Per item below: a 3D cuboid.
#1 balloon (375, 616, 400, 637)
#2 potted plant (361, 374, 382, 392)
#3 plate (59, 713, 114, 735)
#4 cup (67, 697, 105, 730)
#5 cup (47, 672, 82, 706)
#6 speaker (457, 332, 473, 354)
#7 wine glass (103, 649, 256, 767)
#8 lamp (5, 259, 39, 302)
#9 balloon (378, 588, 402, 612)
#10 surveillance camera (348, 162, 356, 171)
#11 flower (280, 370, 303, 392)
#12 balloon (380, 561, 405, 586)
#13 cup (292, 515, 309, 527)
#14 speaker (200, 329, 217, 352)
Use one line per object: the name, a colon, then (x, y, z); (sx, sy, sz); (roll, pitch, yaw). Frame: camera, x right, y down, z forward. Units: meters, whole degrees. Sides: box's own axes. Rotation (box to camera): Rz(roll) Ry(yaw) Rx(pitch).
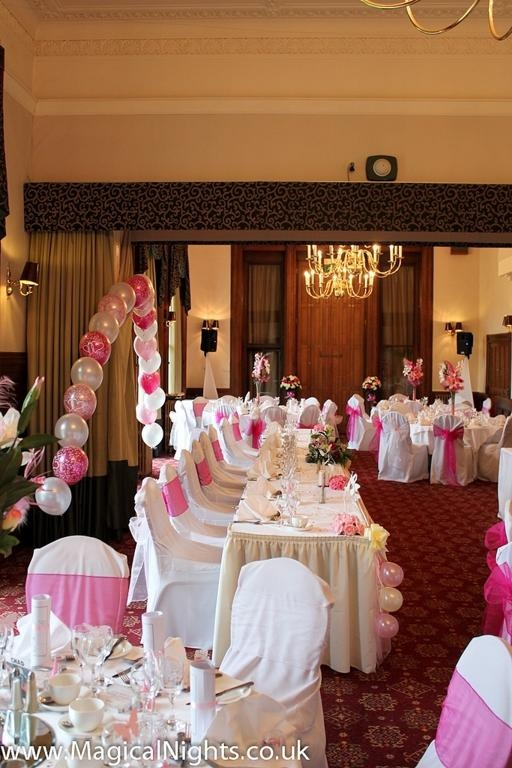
balloon: (0.733, 1.354, 3.029); (0.103, 0.136, 0.109); (-6, -17, 32)
potted plant: (2.549, 0.001, 11.996); (0.377, 0.489, 0.451); (0, -4, 6)
plate: (-0.393, 0.782, 1.238); (0.074, 0.015, 0.080); (-1, -9, 18)
cup: (-0.396, 0.755, 1.269); (0.065, 0.054, 0.068); (-3, -6, 0)
cup: (-0.501, 0.790, 1.402); (0.060, 0.054, 0.069); (1, -17, -3)
speaker: (4.968, -0.956, 12.986); (0.333, 0.614, 0.574); (1, 2, 20)
wine glass: (-0.217, 0.752, 1.271); (0.179, 0.085, 0.289); (0, -5, -6)
lamp: (-2.229, -0.987, 5.161); (0.323, 0.419, 0.231); (-5, -4, 14)
balloon: (0.761, 1.243, 3.112); (0.128, 0.131, 0.123); (0, 2, 3)
surveillance camera: (0.913, -2.084, 5.189); (0.048, 0.102, 0.093); (1, -1, -2)
flower: (0.721, -0.026, 10.602); (0.400, 0.331, 0.398); (1, 1, -37)
balloon: (0.798, 1.140, 3.225); (0.121, 0.167, 0.137); (-3, -11, 6)
cup: (0.253, 0.783, 3.079); (0.059, 0.051, 0.069); (-15, -26, 42)
speaker: (-1.166, -1.010, 13.139); (0.399, 0.631, 0.437); (0, 2, -1)
